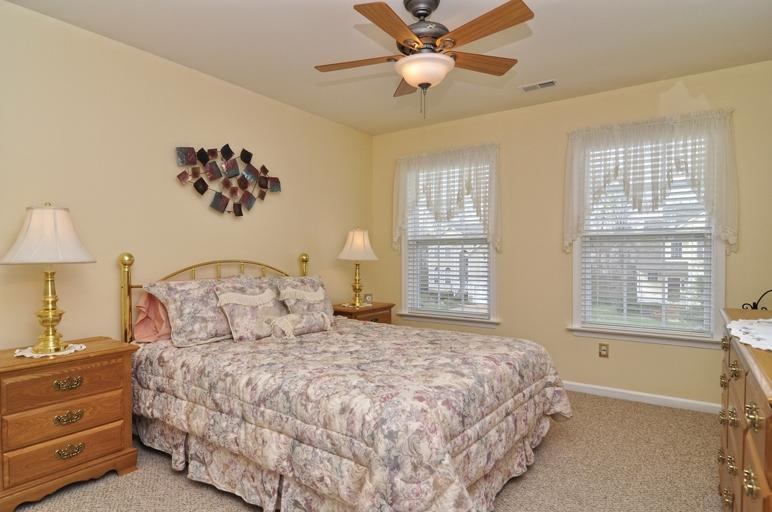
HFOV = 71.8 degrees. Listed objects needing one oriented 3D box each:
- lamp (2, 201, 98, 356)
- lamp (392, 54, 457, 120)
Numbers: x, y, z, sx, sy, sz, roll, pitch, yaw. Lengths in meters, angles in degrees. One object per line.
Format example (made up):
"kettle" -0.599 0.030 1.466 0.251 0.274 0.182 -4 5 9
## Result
"lamp" -2.618 0.157 4.169 0.651 1.175 0.416 -2 1 -15
"lamp" 0.284 -1.305 4.059 0.305 0.247 0.311 0 -10 -4
